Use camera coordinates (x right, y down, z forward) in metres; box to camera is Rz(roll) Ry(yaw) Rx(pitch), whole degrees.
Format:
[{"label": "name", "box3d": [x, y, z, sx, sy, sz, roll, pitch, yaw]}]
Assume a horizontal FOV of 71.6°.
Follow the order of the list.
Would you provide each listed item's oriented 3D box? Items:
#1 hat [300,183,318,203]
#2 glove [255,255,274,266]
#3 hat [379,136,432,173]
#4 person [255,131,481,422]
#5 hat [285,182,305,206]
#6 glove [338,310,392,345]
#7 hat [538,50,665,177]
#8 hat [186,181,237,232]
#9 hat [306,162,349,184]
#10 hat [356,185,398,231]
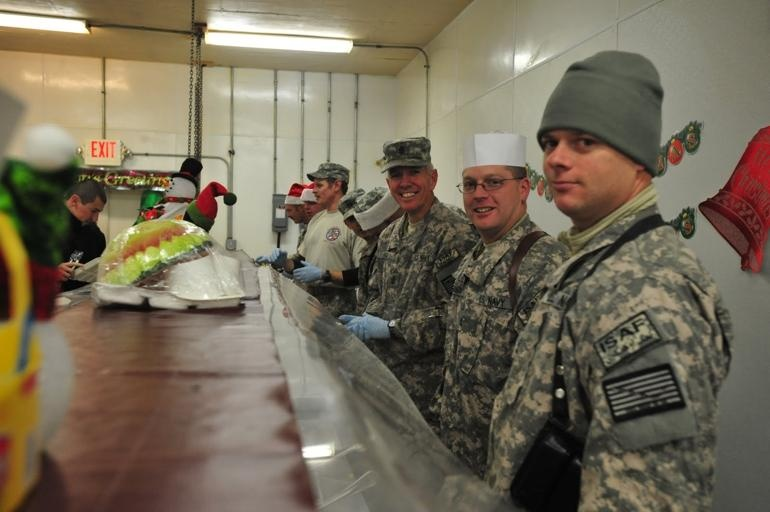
[{"label": "hat", "box3d": [-0.647, -0.534, 4.472, 0.189, 0.153, 0.158, 6, 4, 24]}, {"label": "glove", "box3d": [-0.846, 0.026, 3.738, 0.148, 0.074, 0.199, -3, -1, -14]}, {"label": "hat", "box3d": [0.127, -0.487, 2.536, 0.161, 0.099, 0.216, -6, 3, 23]}, {"label": "person", "box3d": [-0.033, 0.421, 3.372, 0.933, 2.767, 1.091, 11, -19, -23]}, {"label": "hat", "box3d": [-0.808, -0.559, 4.788, 0.161, 0.169, 0.243, 3, -1, -11]}, {"label": "glove", "box3d": [-0.071, 0.302, 2.234, 0.258, 0.127, 0.093, 15, 10, 40]}, {"label": "hat", "box3d": [0.532, -0.345, 1.256, 0.266, 0.261, 0.236, 7, 6, -43]}, {"label": "hat", "box3d": [-0.829, -0.228, 2.449, 0.171, 0.231, 0.202, 5, 8, -22]}, {"label": "hat", "box3d": [-0.408, -0.614, 3.914, 0.284, 0.121, 0.204, 1, 1, -10]}, {"label": "hat", "box3d": [-0.039, -0.266, 2.895, 0.236, 0.135, 0.187, -26, 28, 29]}]
